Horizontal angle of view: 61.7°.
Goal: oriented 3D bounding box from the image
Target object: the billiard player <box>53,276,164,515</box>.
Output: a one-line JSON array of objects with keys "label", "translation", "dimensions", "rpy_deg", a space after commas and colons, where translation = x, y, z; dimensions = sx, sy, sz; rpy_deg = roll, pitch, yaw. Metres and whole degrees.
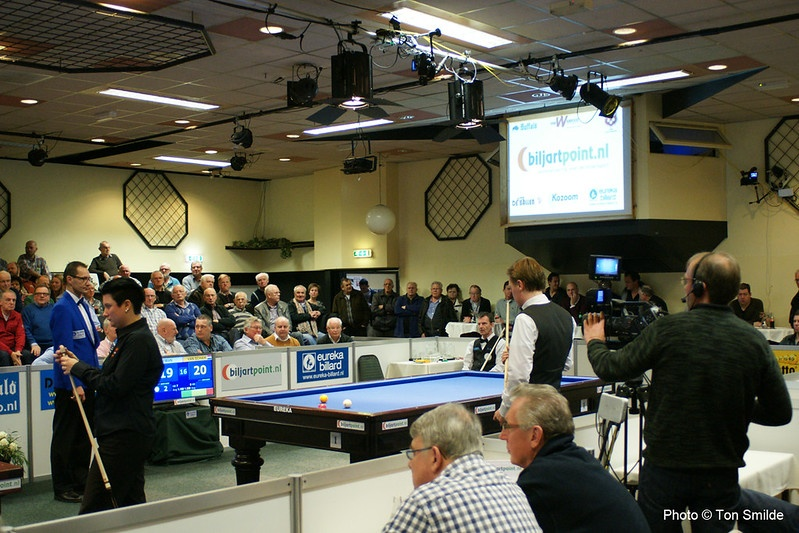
[{"label": "billiard player", "translation": [-2.118, 0.937, 5.016], "dimensions": [0.634, 1.735, 0.377], "rpy_deg": [-4, 1, -10]}]

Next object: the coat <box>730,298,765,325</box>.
[{"label": "coat", "translation": [4.965, 0.639, 9.530], "dimensions": [0.537, 0.222, 0.670], "rpy_deg": [-2, 14, 11]}]
